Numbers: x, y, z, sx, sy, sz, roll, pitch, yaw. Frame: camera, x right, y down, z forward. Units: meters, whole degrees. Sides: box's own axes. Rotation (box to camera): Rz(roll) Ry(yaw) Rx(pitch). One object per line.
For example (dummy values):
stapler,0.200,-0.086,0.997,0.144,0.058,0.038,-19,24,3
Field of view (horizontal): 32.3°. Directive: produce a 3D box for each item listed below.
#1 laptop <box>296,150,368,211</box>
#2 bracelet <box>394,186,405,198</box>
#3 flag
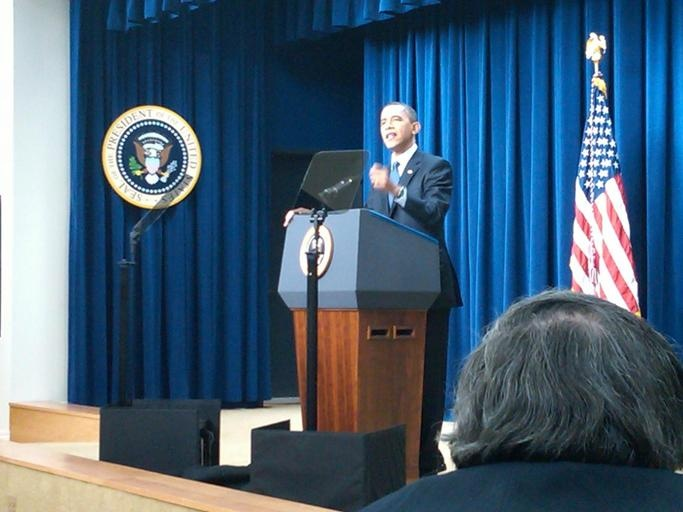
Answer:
laptop,-0.052,-0.404,6.355,0.318,0.353,0.078,10,15,16
bracelet,0.316,-0.348,6.461,0.047,0.069,0.067,-8,-27,28
flag,1.711,-0.452,7.817,0.152,1.640,0.450,4,-7,-37
